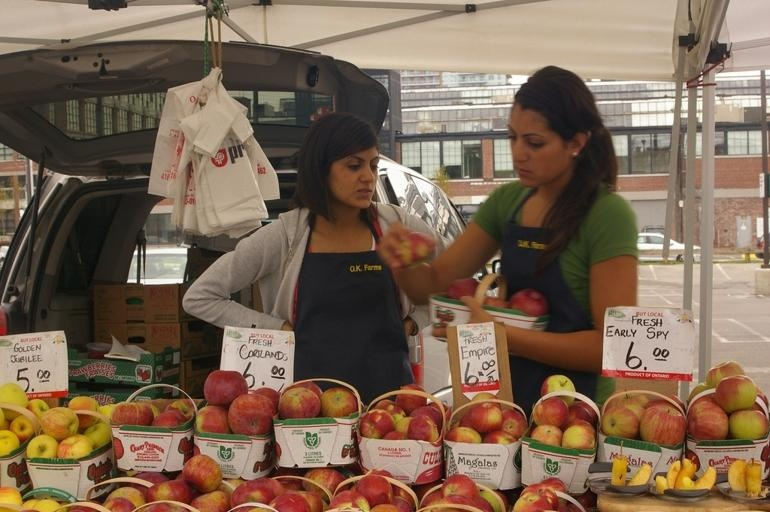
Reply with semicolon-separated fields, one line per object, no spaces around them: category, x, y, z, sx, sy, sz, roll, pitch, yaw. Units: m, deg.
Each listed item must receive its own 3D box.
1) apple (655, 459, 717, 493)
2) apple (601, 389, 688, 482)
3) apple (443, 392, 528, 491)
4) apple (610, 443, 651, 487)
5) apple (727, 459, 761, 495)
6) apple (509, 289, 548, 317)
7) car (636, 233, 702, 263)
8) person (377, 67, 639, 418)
apple;1.449;1.071;3.514;0.193;0.083;0.186;-6;7;-33
apple;1.301;0.921;3.805;0.387;0.448;0.411;2;-5;8
apple;0.519;0.920;3.745;0.452;0.455;0.425;0;-7;12
apple;1.198;1.057;3.620;0.193;0.188;0.120;9;-8;2
apple;1.728;1.055;3.527;0.147;0.153;0.137;1;-2;-29
apple;0.824;0.263;4.186;0.160;0.164;0.163;24;36;21
car;7.164;-0.163;18.516;1.875;0.908;1.053;-2;8;8
person;0.862;-0.198;4.317;1.138;1.724;0.569;-4;-6;42
